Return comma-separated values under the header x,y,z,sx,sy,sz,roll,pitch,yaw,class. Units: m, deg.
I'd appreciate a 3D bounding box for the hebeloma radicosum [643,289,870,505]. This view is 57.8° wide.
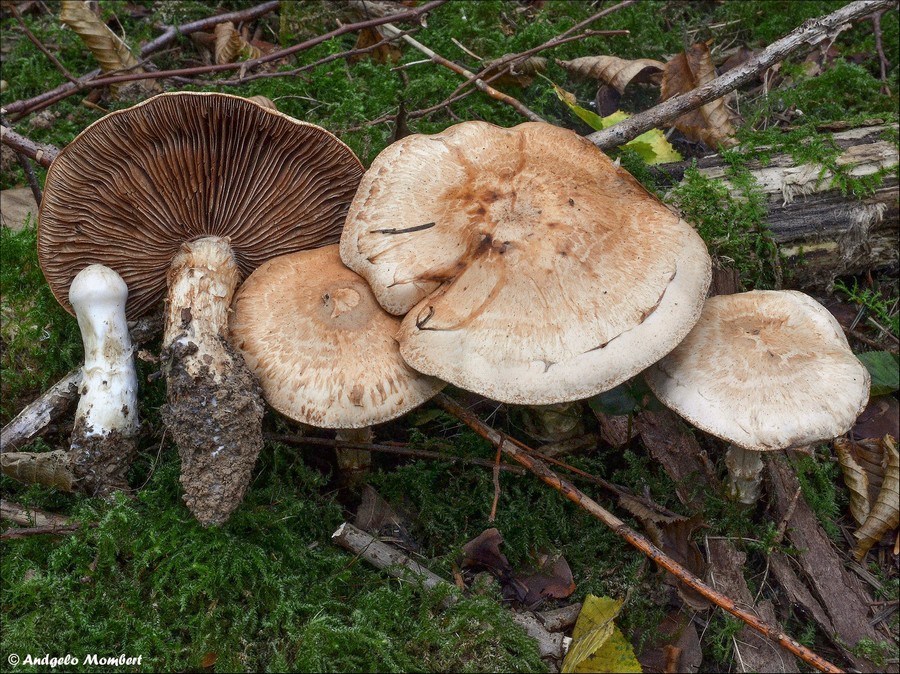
x,y,z,sx,sy,sz,roll,pitch,yaw,class
1.555,0.174,4.165,1.046,0.581,0.691,-11,22,1,hebeloma radicosum

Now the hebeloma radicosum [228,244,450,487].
x,y,z,sx,sy,sz,roll,pitch,yaw,class
-0.634,0.129,4.635,0.946,1.008,0.958,25,64,1,hebeloma radicosum
